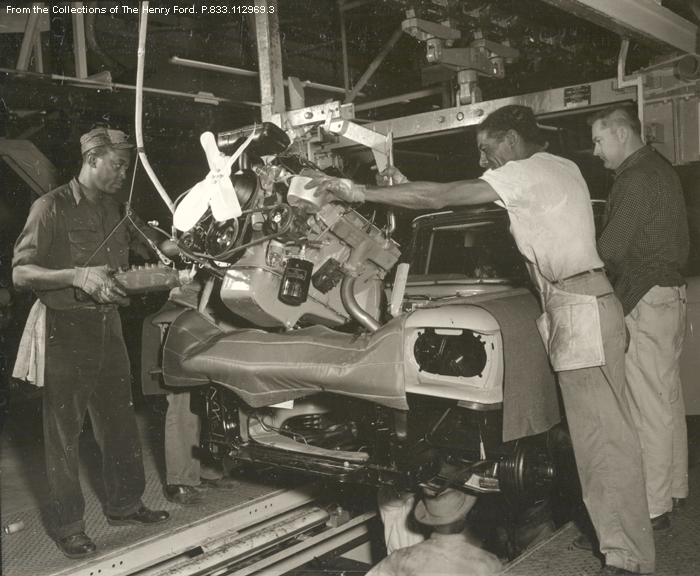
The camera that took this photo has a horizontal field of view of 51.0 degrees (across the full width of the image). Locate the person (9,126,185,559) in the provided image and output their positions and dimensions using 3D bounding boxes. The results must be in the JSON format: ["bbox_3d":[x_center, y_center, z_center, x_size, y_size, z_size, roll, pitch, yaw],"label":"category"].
[{"bbox_3d":[-1.680,0.332,4.628,0.842,2.611,0.474,-6,7,-22],"label":"person"}]

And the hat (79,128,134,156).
[{"bbox_3d":[-1.506,-0.913,4.520,0.158,0.088,0.225,-3,16,26],"label":"hat"}]

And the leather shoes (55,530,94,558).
[{"bbox_3d":[-1.702,1.588,4.546,0.228,0.123,0.172,-6,7,-23],"label":"leather shoes"}]
